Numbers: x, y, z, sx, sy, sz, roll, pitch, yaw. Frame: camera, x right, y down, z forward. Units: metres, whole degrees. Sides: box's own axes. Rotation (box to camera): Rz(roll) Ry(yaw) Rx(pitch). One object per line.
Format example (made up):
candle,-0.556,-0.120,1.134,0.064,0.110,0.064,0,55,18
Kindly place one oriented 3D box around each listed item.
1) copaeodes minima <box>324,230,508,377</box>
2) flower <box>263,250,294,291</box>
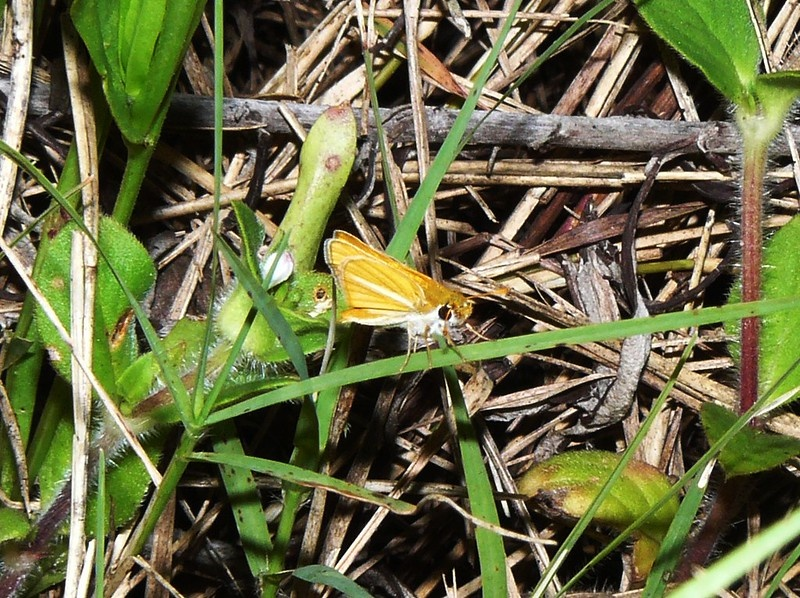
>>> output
copaeodes minima,0.033,0.005,1.899,0.394,0.301,0.176,1,25,-7
flower,-0.261,-0.063,1.882,0.067,0.020,0.080,12,72,-2
